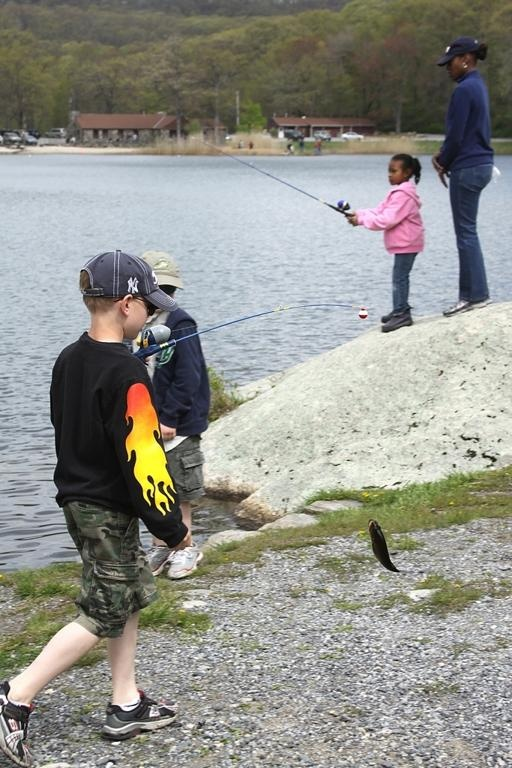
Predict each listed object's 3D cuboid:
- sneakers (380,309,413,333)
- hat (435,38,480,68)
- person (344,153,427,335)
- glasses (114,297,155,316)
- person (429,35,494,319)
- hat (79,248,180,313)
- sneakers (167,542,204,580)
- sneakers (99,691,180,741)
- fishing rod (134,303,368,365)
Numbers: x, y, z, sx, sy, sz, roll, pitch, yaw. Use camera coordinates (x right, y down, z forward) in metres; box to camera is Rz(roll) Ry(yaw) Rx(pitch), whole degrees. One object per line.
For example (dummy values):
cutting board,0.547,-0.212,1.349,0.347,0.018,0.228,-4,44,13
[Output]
sneakers,1.299,-0.602,8.628,0.476,0.162,0.140,-12,12,-34
hat,1.736,-2.876,7.761,0.470,0.210,0.275,0,35,19
person,1.282,-1.341,8.445,0.638,1.698,0.927,-4,9,11
glasses,-0.422,-0.269,3.037,0.082,0.023,0.059,19,-5,5
person,1.867,-1.859,7.991,0.534,2.500,0.759,-3,9,14
hat,-0.444,-0.368,3.086,0.368,0.161,0.220,2,12,-23
sneakers,-0.390,1.005,5.143,0.147,0.142,0.379,-8,6,12
sneakers,-0.397,1.149,3.154,0.319,0.148,0.102,-5,7,-32
fishing rod,-0.105,-0.278,4.208,1.479,0.248,0.150,-6,-14,35
